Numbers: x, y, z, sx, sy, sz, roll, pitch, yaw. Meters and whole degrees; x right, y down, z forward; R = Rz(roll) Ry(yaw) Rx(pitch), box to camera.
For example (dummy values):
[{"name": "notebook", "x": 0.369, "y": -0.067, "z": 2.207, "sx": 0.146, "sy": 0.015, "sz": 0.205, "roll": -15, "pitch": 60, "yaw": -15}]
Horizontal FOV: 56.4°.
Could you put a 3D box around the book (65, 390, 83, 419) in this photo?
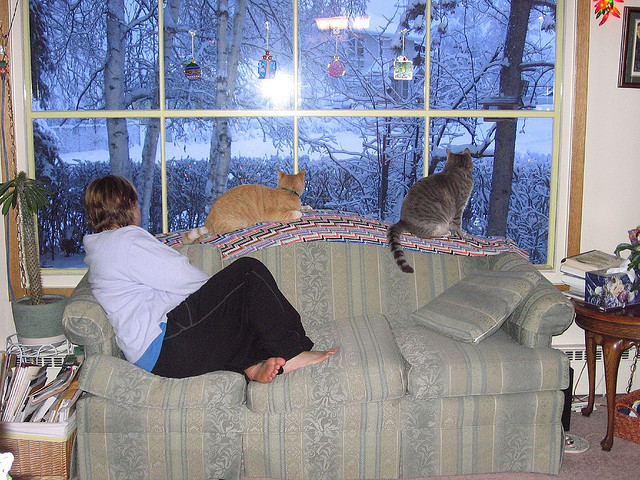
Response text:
[{"name": "book", "x": -1.173, "y": 0.784, "z": 2.842, "sx": 0.034, "sy": 0.156, "sz": 0.044, "roll": 19, "pitch": -24, "yaw": 12}]

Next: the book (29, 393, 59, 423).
[{"name": "book", "x": -1.320, "y": 0.793, "z": 2.866, "sx": 0.045, "sy": 0.167, "sz": 0.040, "roll": 32, "pitch": -33, "yaw": -2}]

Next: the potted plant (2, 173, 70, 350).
[{"name": "potted plant", "x": -1.689, "y": 0.126, "z": 3.509, "sx": 0.338, "sy": 0.980, "sz": 0.534, "roll": 1, "pitch": -1, "yaw": -32}]

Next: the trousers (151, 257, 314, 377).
[{"name": "trousers", "x": -0.422, "y": 0.433, "z": 2.876, "sx": 0.780, "sy": 0.392, "sz": 0.439, "roll": -33, "pitch": -13, "yaw": 21}]

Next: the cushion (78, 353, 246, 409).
[{"name": "cushion", "x": -0.737, "y": 0.656, "z": 2.806, "sx": 0.764, "sy": 0.242, "sz": 0.086, "roll": 1, "pitch": -1, "yaw": -1}]

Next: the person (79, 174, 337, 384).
[{"name": "person", "x": -0.579, "y": 0.177, "z": 3.186, "sx": 1.216, "sy": 1.144, "sz": 0.789, "roll": -4, "pitch": 1, "yaw": -29}]

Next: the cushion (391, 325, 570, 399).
[{"name": "cushion", "x": 0.797, "y": 0.613, "z": 3.015, "sx": 0.809, "sy": 0.293, "sz": 0.363, "roll": 1, "pitch": -2, "yaw": -5}]

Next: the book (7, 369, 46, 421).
[{"name": "book", "x": -1.387, "y": 0.730, "z": 2.840, "sx": 0.065, "sy": 0.193, "sz": 0.183, "roll": 13, "pitch": -3, "yaw": 8}]

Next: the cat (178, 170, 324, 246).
[{"name": "cat", "x": -0.419, "y": -0.174, "z": 3.538, "sx": 0.715, "sy": 0.281, "sz": 0.425, "roll": -20, "pitch": 16, "yaw": -18}]

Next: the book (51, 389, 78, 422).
[{"name": "book", "x": -1.219, "y": 0.787, "z": 2.850, "sx": 0.036, "sy": 0.116, "sz": 0.084, "roll": 19, "pitch": -21, "yaw": -11}]

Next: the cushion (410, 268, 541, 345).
[{"name": "cushion", "x": 0.790, "y": 0.340, "z": 3.092, "sx": 0.417, "sy": 0.113, "sz": 0.465, "roll": -27, "pitch": 10, "yaw": 35}]

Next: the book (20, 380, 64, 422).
[{"name": "book", "x": -1.325, "y": 0.767, "z": 2.831, "sx": 0.037, "sy": 0.195, "sz": 0.077, "roll": 28, "pitch": -34, "yaw": 0}]

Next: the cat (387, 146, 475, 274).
[{"name": "cat", "x": 0.721, "y": -0.203, "z": 3.749, "sx": 0.260, "sy": 0.561, "sz": 0.965, "roll": 10, "pitch": 26, "yaw": 45}]

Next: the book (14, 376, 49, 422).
[{"name": "book", "x": -1.380, "y": 0.758, "z": 2.851, "sx": 0.038, "sy": 0.164, "sz": 0.116, "roll": 15, "pitch": 1, "yaw": -12}]

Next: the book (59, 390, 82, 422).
[{"name": "book", "x": -1.185, "y": 0.793, "z": 2.852, "sx": 0.036, "sy": 0.102, "sz": 0.077, "roll": 31, "pitch": -16, "yaw": -8}]

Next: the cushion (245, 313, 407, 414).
[{"name": "cushion", "x": 0.072, "y": 0.637, "z": 2.860, "sx": 0.471, "sy": 0.123, "sz": 0.494, "roll": -8, "pitch": 17, "yaw": 4}]

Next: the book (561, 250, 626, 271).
[{"name": "book", "x": 1.548, "y": 0.115, "z": 3.376, "sx": 0.175, "sy": 0.045, "sz": 0.170, "roll": 9, "pitch": 14, "yaw": 44}]

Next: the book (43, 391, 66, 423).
[{"name": "book", "x": -1.260, "y": 0.792, "z": 2.839, "sx": 0.024, "sy": 0.128, "sz": 0.046, "roll": 10, "pitch": -19, "yaw": 10}]
